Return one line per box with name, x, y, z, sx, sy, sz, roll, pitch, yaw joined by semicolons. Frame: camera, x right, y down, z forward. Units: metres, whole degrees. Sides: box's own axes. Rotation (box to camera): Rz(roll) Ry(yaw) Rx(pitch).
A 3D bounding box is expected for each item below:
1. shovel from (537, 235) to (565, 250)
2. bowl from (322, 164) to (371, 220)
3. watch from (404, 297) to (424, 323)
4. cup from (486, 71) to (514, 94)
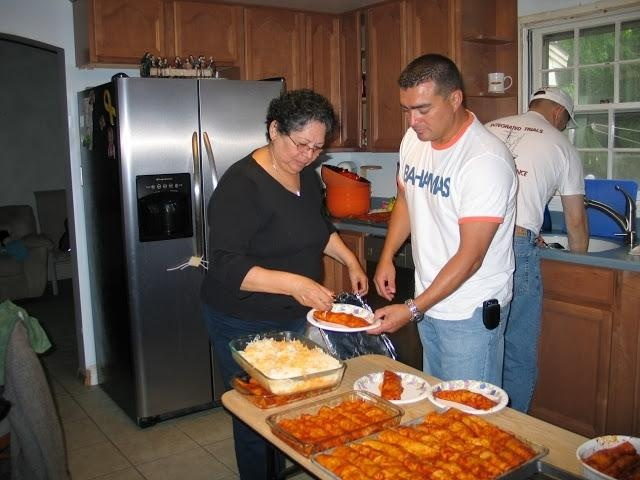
shovel;1.447;0.031;3.083;0.170;0.040;0.170;2;14;4
bowl;0.206;-0.383;4.005;0.434;0.425;0.388;-1;8;-3
watch;0.348;0.272;1.866;0.060;0.091;0.097;-23;-12;-8
cup;1.316;-1.144;3.603;0.214;0.159;0.139;-2;4;-11
